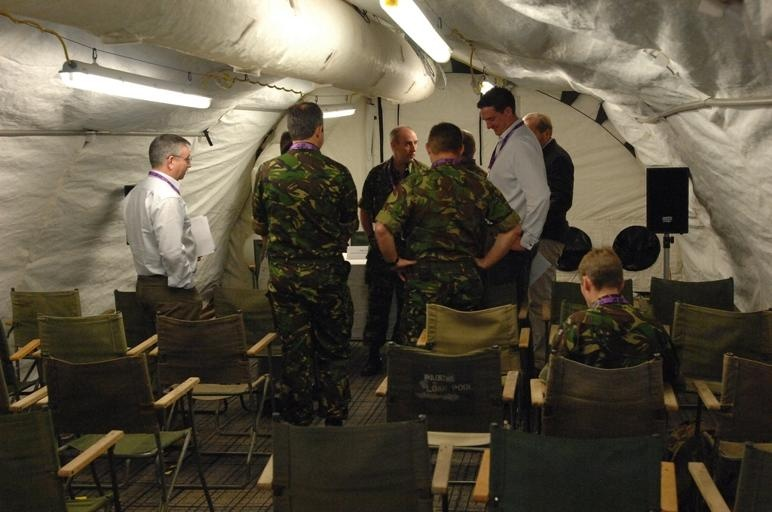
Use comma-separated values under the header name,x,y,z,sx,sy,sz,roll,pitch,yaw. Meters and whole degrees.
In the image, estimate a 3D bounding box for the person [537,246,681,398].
name,x,y,z,sx,sy,sz,roll,pitch,yaw
person,1.341,0.373,3.933,0.704,0.818,0.465,1,3,18

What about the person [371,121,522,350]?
name,x,y,z,sx,sy,sz,roll,pitch,yaw
person,0.456,-0.168,5.046,1.063,1.642,0.323,0,3,-2

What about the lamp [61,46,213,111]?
name,x,y,z,sx,sy,sz,roll,pitch,yaw
lamp,-1.847,-1.249,5.028,0.251,0.176,1.325,1,3,22

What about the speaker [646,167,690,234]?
name,x,y,z,sx,sy,sz,roll,pitch,yaw
speaker,2.844,-0.550,6.825,0.398,0.665,0.389,1,3,21
